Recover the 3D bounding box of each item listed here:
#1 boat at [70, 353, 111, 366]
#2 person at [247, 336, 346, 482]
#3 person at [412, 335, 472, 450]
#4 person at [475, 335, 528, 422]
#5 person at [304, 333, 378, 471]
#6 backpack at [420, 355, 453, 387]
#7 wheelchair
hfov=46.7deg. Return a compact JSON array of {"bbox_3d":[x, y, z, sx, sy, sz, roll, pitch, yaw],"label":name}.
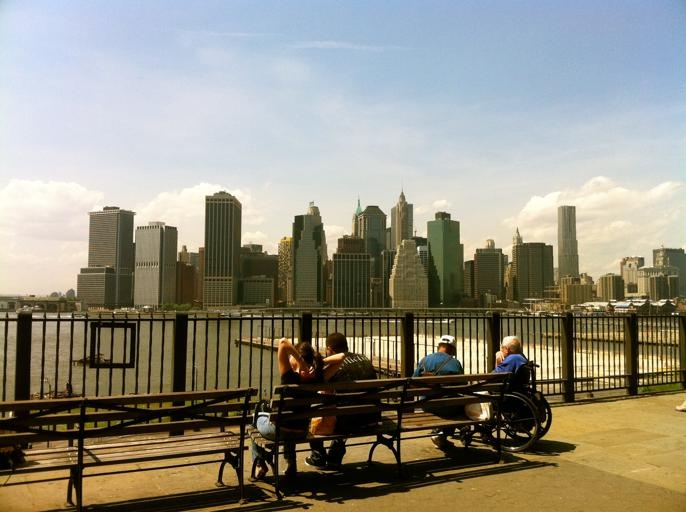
[{"bbox_3d":[-4.452,1.843,14.201,0.559,0.236,3.601,1,-7,-17],"label":"boat"},{"bbox_3d":[-0.743,2.326,11.584,1.183,2.224,0.752,1,-2,-20],"label":"person"},{"bbox_3d":[1.621,2.229,13.490,1.063,1.713,1.032,2,-3,1],"label":"person"},{"bbox_3d":[2.864,2.109,13.821,0.719,1.405,0.765,-4,-2,43],"label":"person"},{"bbox_3d":[0.103,2.235,12.309,1.110,2.012,1.207,3,-4,-6],"label":"person"},{"bbox_3d":[1.496,1.872,13.066,0.288,0.362,0.411,1,17,16],"label":"backpack"},{"bbox_3d":[2.992,2.594,13.621,1.715,1.467,1.157,1,-6,13],"label":"wheelchair"}]
